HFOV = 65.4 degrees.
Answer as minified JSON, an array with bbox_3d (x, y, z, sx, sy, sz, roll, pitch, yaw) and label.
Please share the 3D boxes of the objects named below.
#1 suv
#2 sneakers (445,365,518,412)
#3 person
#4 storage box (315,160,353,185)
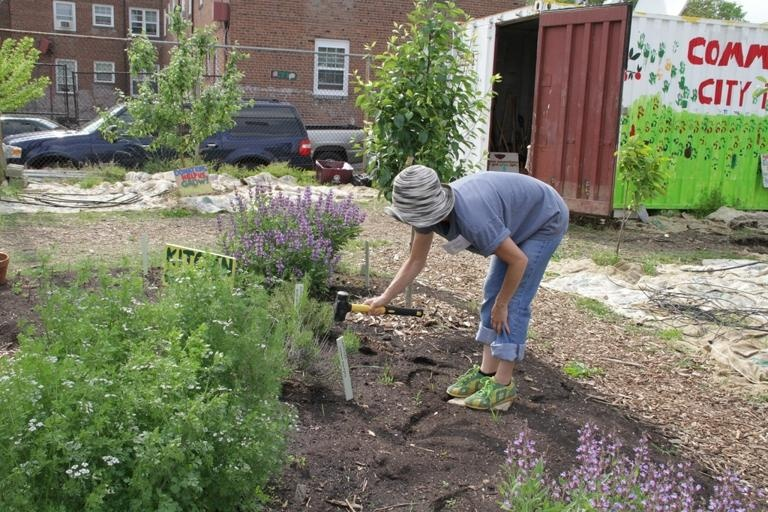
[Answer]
[{"bbox_3d":[-4.313,-2.579,12.628,5.602,1.593,1.060,1,11,-10],"label":"suv"},{"bbox_3d":[0.728,1.003,4.422,0.567,0.224,0.203,1,10,-5],"label":"sneakers"},{"bbox_3d":[0.649,0.249,4.248,1.335,1.732,0.645,2,11,-3],"label":"person"},{"bbox_3d":[-1.107,-1.813,12.945,0.772,0.467,0.830,12,14,39],"label":"storage box"}]
